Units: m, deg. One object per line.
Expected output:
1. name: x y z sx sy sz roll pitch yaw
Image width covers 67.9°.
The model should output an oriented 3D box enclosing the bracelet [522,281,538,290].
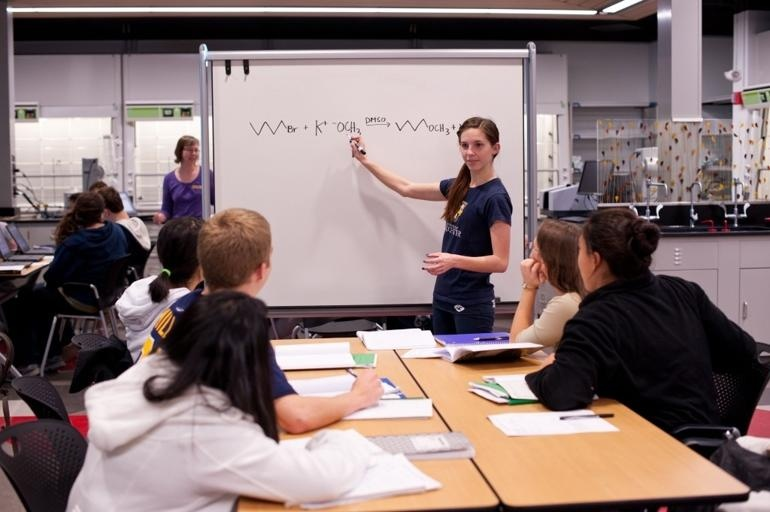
1. bracelet: 0.723 0.154 2.793 0.057 0.023 0.051 9 -5 -36

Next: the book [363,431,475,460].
1. book: 0.133 0.618 1.842 0.208 0.028 0.121 0 5 -7

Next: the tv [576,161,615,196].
1. tv: 2.143 -0.817 5.858 0.392 0.389 0.316 3 20 15

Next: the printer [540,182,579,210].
1. printer: 2.033 -0.649 6.607 0.306 0.303 0.425 1 1 -8

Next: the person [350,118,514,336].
1. person: 0.334 -0.154 3.256 0.548 1.223 0.695 -3 8 -16

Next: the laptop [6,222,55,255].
1. laptop: -3.749 -0.193 6.048 0.345 0.224 0.368 -1 7 -8

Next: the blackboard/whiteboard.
1. blackboard/whiteboard: -0.093 -0.463 3.288 1.694 1.361 0.064 -1 5 1
